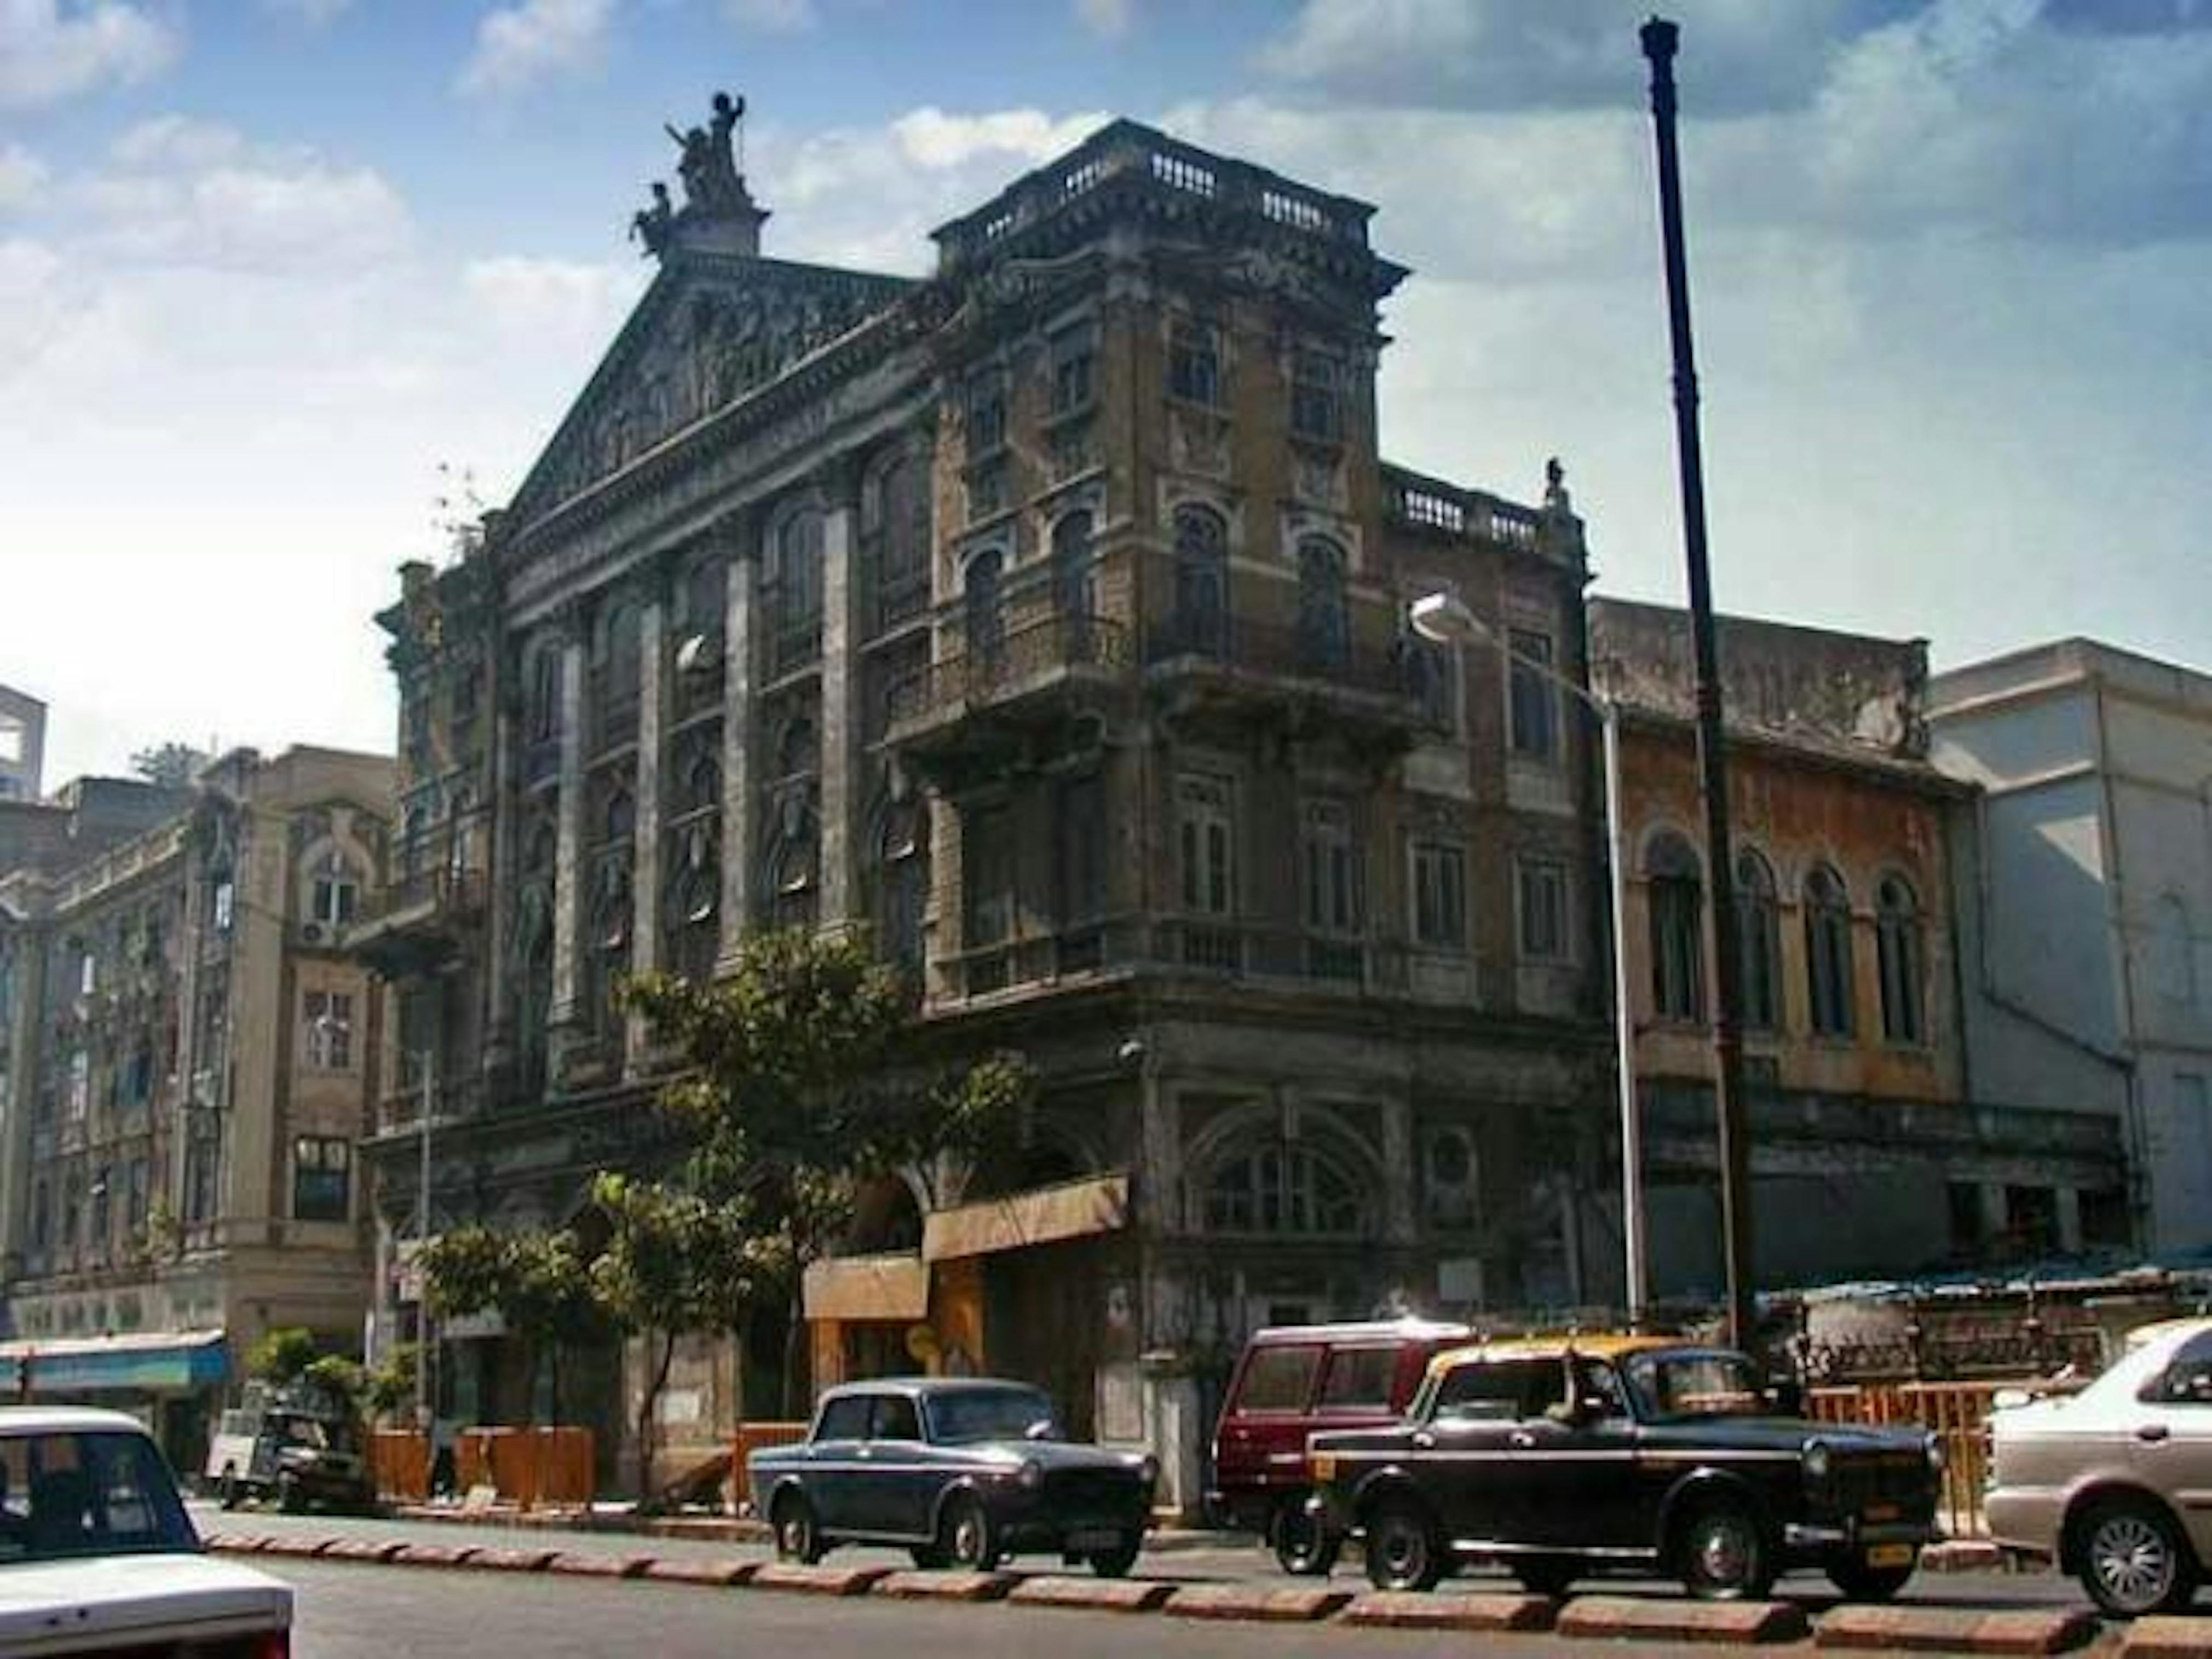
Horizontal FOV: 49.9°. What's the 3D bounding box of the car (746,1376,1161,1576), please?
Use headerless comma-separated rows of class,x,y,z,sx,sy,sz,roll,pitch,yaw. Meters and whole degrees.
car,-1.735,7.193,26.491,4.477,2.120,1.651,-16,-21,42

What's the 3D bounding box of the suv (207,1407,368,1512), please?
suv,-16.060,12.447,46.948,1.970,1.657,3.060,13,-23,-35
